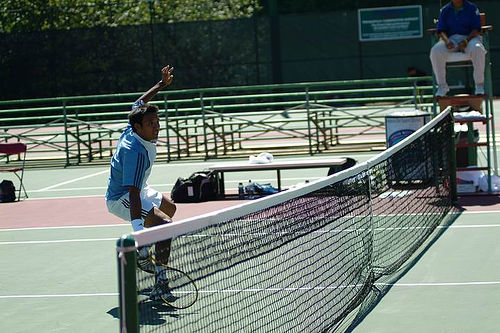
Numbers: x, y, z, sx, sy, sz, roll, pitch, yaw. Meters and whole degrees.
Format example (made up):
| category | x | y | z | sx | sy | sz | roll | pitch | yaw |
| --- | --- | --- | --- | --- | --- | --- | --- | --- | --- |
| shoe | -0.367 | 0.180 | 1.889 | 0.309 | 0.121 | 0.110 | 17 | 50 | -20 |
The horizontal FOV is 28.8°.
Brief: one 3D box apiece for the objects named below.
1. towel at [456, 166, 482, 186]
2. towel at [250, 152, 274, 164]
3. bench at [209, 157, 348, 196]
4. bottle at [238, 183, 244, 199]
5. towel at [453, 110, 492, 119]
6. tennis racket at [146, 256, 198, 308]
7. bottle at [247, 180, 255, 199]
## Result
| category | x | y | z | sx | sy | sz | roll | pitch | yaw |
| --- | --- | --- | --- | --- | --- | --- | --- | --- | --- |
| towel | 5.406 | 0.192 | 23.787 | 0.552 | 0.501 | 0.148 | 2 | -12 | 1 |
| towel | 0.290 | -0.241 | 24.775 | 0.400 | 0.179 | 0.304 | -3 | -3 | 13 |
| bench | 0.754 | 0.214 | 24.728 | 3.404 | 0.872 | 0.987 | -2 | 2 | 2 |
| bottle | -0.211 | 0.569 | 24.614 | 0.122 | 0.371 | 0.306 | -2 | 2 | -1 |
| towel | 5.268 | -1.271 | 23.359 | 0.761 | 0.200 | 0.542 | -2 | 2 | 12 |
| tennis racket | -1.352 | 1.824 | 17.051 | 0.682 | 0.226 | 1.359 | 17 | -16 | 27 |
| bottle | 0.035 | 0.559 | 24.673 | 0.131 | 0.376 | 0.162 | 5 | -2 | -39 |
